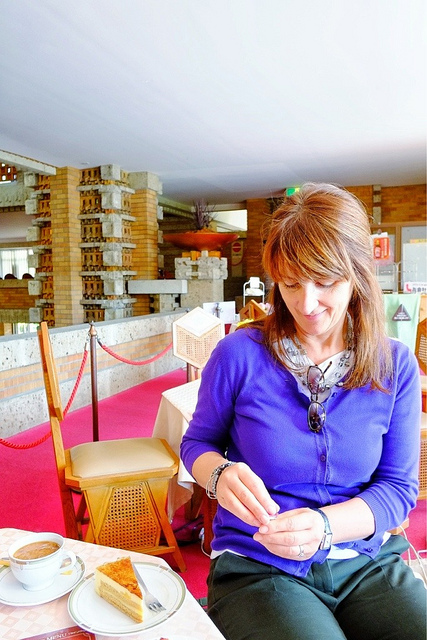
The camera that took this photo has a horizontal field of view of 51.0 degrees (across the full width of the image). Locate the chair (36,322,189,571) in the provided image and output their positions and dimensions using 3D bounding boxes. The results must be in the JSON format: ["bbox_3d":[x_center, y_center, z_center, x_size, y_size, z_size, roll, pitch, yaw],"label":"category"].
[{"bbox_3d":[-0.391,0.567,1.924,0.568,0.979,0.459,-3,-3,-28],"label":"chair"}]

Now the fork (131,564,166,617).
[{"bbox_3d":[-0.092,0.380,0.649,0.016,0.013,0.117,-8,7,-19],"label":"fork"}]

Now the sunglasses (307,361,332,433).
[{"bbox_3d":[0.208,0.150,0.897,0.046,0.124,0.107,6,6,15],"label":"sunglasses"}]

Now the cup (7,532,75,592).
[{"bbox_3d":[-0.270,0.361,0.731,0.116,0.074,0.102,1,5,17],"label":"cup"}]

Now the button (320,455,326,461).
[{"bbox_3d":[0.209,0.262,0.850,0.009,0.010,0.002,-5,-17,17],"label":"button"}]

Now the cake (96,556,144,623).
[{"bbox_3d":[-0.132,0.390,0.652,0.071,0.027,0.047,23,8,30],"label":"cake"}]
